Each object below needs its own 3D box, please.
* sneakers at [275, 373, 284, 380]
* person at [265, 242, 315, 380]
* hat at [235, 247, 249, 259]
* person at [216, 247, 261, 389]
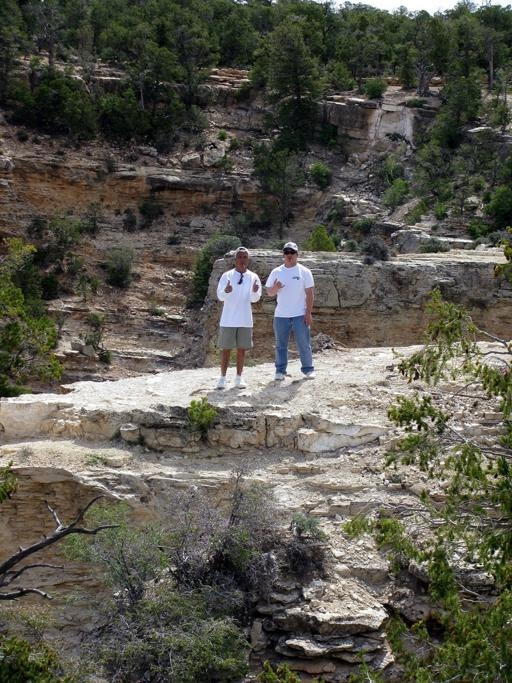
[{"bbox_3d":[0.273,0.415,10.991,0.074,0.069,0.164,0,-3,5],"label":"sneakers"},{"bbox_3d":[0.399,-0.319,10.759,0.567,1.622,0.469,1,10,3],"label":"person"},{"bbox_3d":[-0.157,-1.019,10.557,0.150,0.143,0.194,1,-7,-5],"label":"hat"},{"bbox_3d":[-0.214,-0.296,11.012,0.497,1.633,0.983,1,10,0],"label":"person"}]
